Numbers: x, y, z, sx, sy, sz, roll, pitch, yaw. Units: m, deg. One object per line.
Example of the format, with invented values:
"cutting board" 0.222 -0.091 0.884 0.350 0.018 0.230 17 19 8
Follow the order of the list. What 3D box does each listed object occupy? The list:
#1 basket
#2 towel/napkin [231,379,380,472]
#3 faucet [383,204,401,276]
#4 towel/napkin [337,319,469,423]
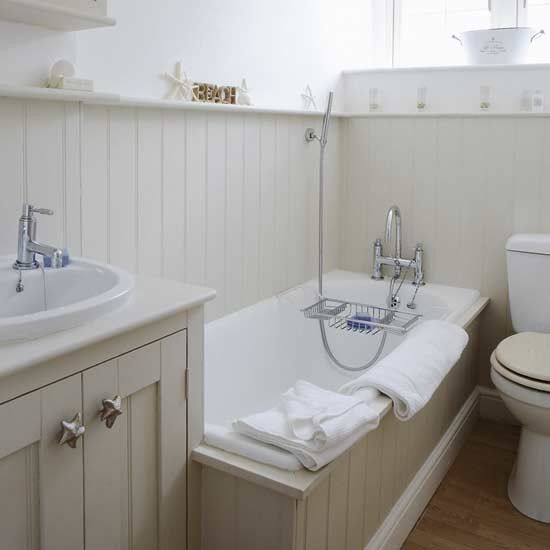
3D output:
"basket" 0.360 0.183 2.216 0.436 0.096 0.244 12 19 30
"towel/napkin" 0.074 0.340 1.163 0.187 0.078 0.194 6 15 41
"faucet" 0.601 -0.172 2.518 0.091 0.351 0.251 2 13 13
"towel/napkin" 0.446 0.287 1.562 0.238 0.132 0.431 30 43 32
